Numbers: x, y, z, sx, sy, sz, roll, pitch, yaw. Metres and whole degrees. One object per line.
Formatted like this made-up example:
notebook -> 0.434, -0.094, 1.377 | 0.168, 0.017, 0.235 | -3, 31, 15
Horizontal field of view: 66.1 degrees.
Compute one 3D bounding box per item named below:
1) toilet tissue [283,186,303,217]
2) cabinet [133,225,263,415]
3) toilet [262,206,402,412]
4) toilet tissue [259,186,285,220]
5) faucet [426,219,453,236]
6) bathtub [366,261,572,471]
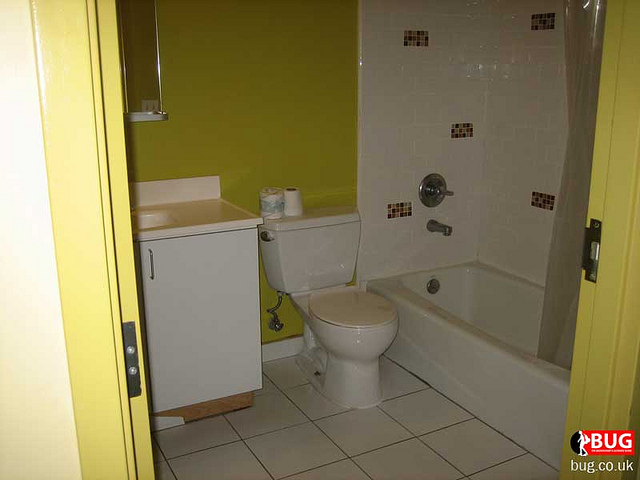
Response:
toilet tissue -> -0.164, -0.216, 2.821 | 0.118, 0.152, 0.151 | -11, 21, -27
cabinet -> -0.700, 0.371, 2.648 | 0.622, 0.917, 0.552 | -5, 11, -25
toilet -> 0.099, 0.367, 2.802 | 0.512, 0.954, 0.843 | -8, 15, -25
toilet tissue -> -0.275, -0.204, 2.768 | 0.130, 0.158, 0.134 | -8, 21, -26
faucet -> 0.765, -0.086, 3.204 | 0.086, 0.082, 0.153 | -6, 12, -22
bathtub -> 1.014, 0.560, 2.922 | 0.849, 0.444, 1.404 | -16, 23, -30
